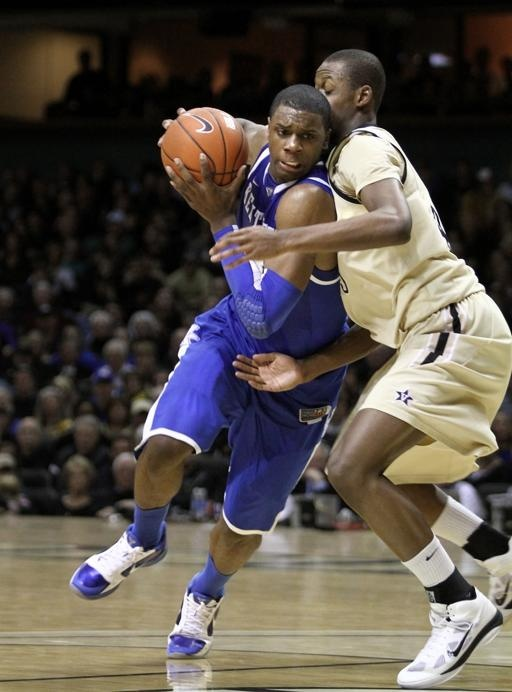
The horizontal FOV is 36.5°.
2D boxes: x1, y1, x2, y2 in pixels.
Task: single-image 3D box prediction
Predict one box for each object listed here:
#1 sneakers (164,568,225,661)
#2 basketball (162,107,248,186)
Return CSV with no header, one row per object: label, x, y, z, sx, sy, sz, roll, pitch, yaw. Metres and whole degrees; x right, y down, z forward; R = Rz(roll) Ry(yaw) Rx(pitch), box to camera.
sneakers,-0.162,0.747,2.155,0.096,0.109,0.274,10,29,8
basketball,-0.157,-0.537,2.134,0.253,0.212,0.250,9,18,26
